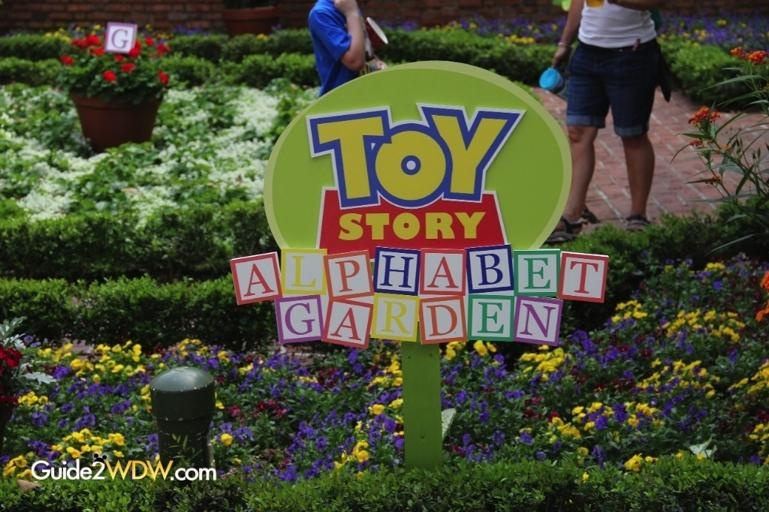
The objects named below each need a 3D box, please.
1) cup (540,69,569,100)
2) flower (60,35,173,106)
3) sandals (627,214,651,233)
[{"bbox_3d":[1.686,-1.765,14.382,0.275,0.287,0.258,-4,-14,-1],"label":"cup"},{"bbox_3d":[-3.341,-2.316,16.790,0.983,0.620,1.029,-13,17,19],"label":"flower"},{"bbox_3d":[2.548,-0.336,14.209,0.106,0.125,0.280,2,-11,21],"label":"sandals"}]
